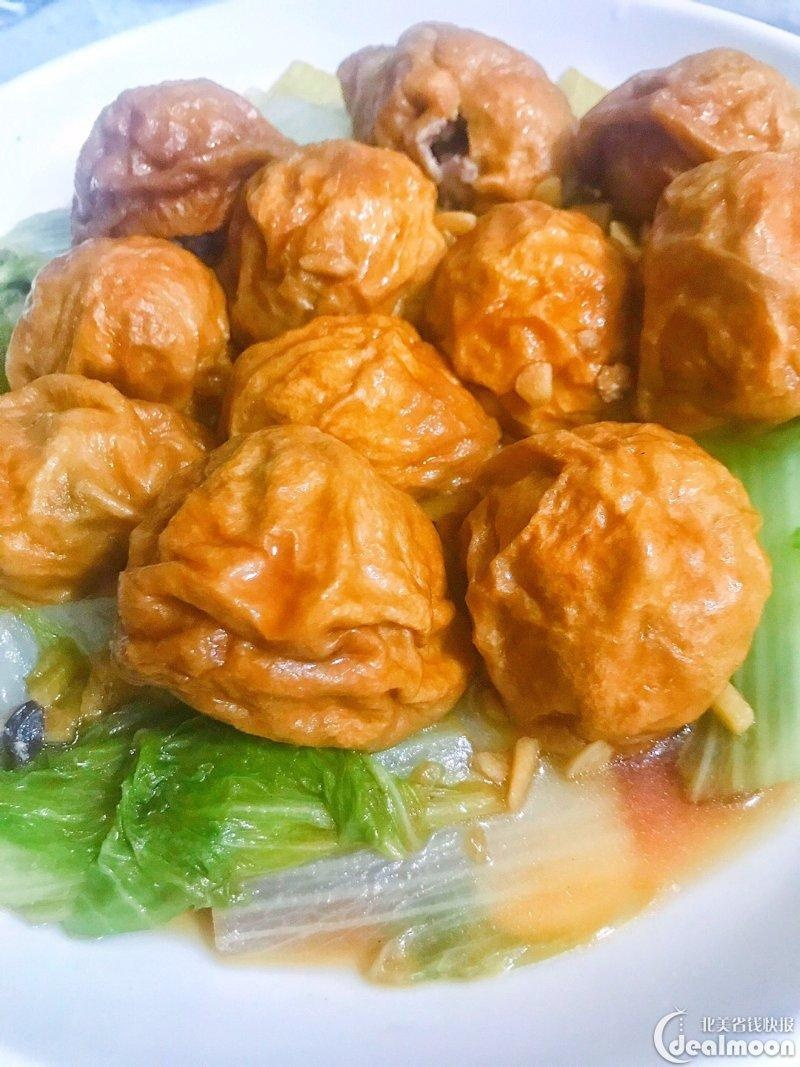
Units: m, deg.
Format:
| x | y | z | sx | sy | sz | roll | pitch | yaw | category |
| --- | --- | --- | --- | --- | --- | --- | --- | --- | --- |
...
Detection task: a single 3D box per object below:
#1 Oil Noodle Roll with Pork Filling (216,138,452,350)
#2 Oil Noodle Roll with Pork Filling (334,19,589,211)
| x | y | z | sx | sy | sz | roll | pitch | yaw | category |
| --- | --- | --- | --- | --- | --- | --- | --- | --- | --- |
| -0.121 | -0.571 | 2.284 | 0.357 | 0.254 | 0.435 | 37 | 72 | 11 | Oil Noodle Roll with Pork Filling |
| 0.132 | -0.964 | 2.468 | 0.574 | 0.293 | 0.383 | 21 | 65 | 5 | Oil Noodle Roll with Pork Filling |
